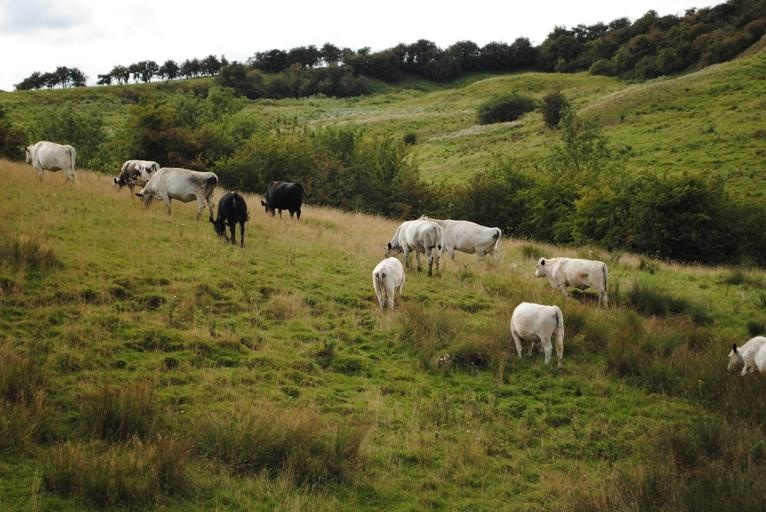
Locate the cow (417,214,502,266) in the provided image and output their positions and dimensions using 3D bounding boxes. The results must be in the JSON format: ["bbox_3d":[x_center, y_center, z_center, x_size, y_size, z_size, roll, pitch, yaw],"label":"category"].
[{"bbox_3d":[4.821,-0.954,60.430,4.647,3.002,1.485,14,40,14],"label":"cow"}]

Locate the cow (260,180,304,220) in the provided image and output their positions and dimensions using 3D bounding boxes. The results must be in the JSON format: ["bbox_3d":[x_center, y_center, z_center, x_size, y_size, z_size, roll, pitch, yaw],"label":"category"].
[{"bbox_3d":[-6.787,-3.579,65.150,4.151,2.691,1.901,1,-2,39],"label":"cow"}]

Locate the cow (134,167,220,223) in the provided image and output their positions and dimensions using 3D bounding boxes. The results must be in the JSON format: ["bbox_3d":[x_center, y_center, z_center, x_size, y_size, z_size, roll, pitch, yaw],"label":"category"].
[{"bbox_3d":[-13.164,-4.138,60.281,4.760,3.185,1.595,1,17,-4],"label":"cow"}]

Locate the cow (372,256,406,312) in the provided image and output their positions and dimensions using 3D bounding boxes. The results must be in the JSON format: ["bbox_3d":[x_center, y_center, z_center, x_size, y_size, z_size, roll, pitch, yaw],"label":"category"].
[{"bbox_3d":[0.336,1.548,55.396,1.837,2.832,1.189,-2,8,-36],"label":"cow"}]

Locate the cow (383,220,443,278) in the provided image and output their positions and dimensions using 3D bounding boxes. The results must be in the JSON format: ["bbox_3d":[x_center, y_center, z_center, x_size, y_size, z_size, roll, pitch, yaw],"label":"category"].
[{"bbox_3d":[1.823,-0.602,59.747,1.472,3.371,4.913,-9,5,-38],"label":"cow"}]

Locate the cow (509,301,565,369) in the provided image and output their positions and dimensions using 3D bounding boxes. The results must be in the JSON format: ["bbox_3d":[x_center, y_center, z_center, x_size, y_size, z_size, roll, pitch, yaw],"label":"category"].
[{"bbox_3d":[8.883,3.939,53.490,1.873,3.451,4.110,-3,7,-35],"label":"cow"}]

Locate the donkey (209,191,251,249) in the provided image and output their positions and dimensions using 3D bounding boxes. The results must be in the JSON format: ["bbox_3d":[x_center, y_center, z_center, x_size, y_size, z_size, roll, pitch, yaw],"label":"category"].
[{"bbox_3d":[-9.246,-2.362,58.116,1.865,3.207,0.881,4,7,11],"label":"donkey"}]

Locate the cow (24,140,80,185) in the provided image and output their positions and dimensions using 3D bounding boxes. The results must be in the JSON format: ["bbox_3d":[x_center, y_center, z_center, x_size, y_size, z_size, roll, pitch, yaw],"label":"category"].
[{"bbox_3d":[-21.664,-6.284,62.403,2.344,2.465,3.416,-3,9,-41],"label":"cow"}]
